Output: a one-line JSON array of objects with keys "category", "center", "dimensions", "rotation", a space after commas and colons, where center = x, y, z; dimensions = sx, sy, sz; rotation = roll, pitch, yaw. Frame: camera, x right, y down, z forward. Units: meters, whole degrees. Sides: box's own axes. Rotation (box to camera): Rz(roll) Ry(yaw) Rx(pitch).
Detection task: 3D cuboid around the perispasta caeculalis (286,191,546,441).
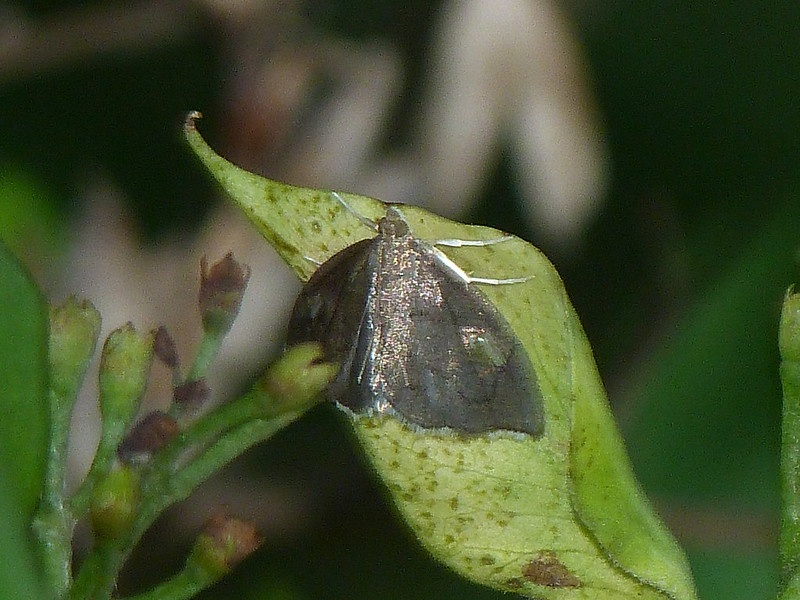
[{"category": "perispasta caeculalis", "center": [0.016, 0.022, 0.984], "dimensions": [0.201, 0.050, 0.168], "rotation": [0, 72, -2]}]
